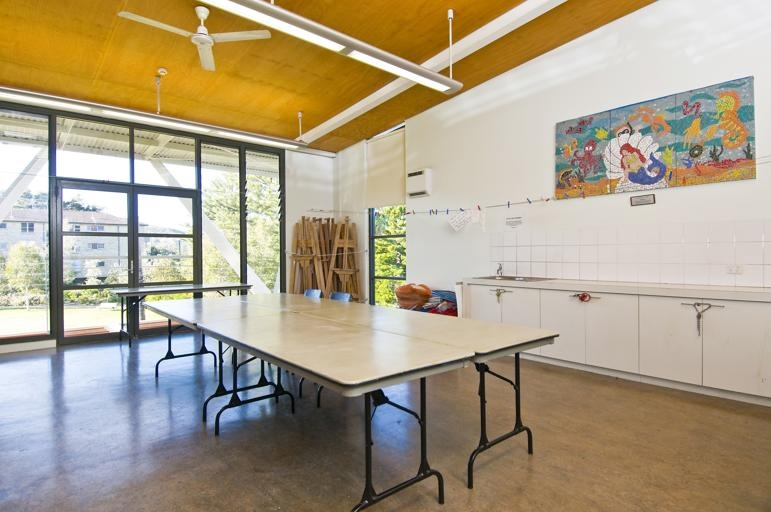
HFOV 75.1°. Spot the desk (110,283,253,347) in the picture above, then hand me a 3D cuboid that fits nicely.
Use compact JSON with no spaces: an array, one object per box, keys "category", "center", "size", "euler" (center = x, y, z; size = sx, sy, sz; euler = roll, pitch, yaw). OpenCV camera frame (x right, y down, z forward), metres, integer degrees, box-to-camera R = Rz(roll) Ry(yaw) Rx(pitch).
[{"category":"desk","center":[-3.296,0.829,8.181],"size":[1.944,0.619,0.623],"euler":[-5,1,-32]}]

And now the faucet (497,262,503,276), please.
[{"category":"faucet","center":[1.701,0.197,7.460],"size":[0.099,0.171,0.095],"euler":[-1,11,11]}]

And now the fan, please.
[{"category":"fan","center":[-1.944,-2.369,5.501],"size":[1.080,0.299,1.001],"euler":[0,-9,-4]}]

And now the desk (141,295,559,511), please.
[{"category":"desk","center":[-0.422,1.282,5.218],"size":[2.087,1.336,3.422],"euler":[-12,13,-43]}]
